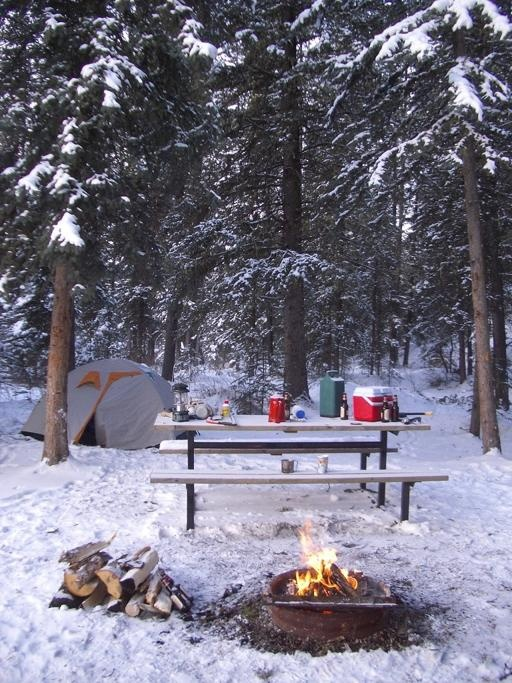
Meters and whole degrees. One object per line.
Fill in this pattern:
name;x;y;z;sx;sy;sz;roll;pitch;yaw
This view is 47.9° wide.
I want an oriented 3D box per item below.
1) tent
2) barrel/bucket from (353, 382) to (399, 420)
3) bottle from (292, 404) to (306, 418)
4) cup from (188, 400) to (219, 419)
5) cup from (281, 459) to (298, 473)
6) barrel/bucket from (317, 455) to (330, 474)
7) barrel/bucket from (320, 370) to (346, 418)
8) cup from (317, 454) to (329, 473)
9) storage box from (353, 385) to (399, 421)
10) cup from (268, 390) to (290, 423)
tent;-2.456;0.823;10.412;3.029;1.330;2.755;-7;11;-7
barrel/bucket;1.271;0.612;6.124;0.374;0.385;0.398;0;-4;0
bottle;0.465;0.724;6.069;0.117;0.132;0.122;0;1;-37
cup;-0.548;0.693;5.952;0.246;0.149;0.250;10;-4;1
cup;0.342;1.279;5.979;0.150;0.113;0.116;2;-5;-14
barrel/bucket;0.678;1.244;5.945;0.161;0.197;0.138;-3;-4;29
barrel/bucket;0.841;0.573;6.377;0.289;0.472;0.274;1;5;0
cup;0.678;1.241;5.943;0.159;0.196;0.135;-1;0;13
storage box;1.264;0.624;6.107;0.378;0.390;0.398;-1;-3;25
cup;0.234;0.661;5.903;0.223;0.293;0.334;2;4;3
